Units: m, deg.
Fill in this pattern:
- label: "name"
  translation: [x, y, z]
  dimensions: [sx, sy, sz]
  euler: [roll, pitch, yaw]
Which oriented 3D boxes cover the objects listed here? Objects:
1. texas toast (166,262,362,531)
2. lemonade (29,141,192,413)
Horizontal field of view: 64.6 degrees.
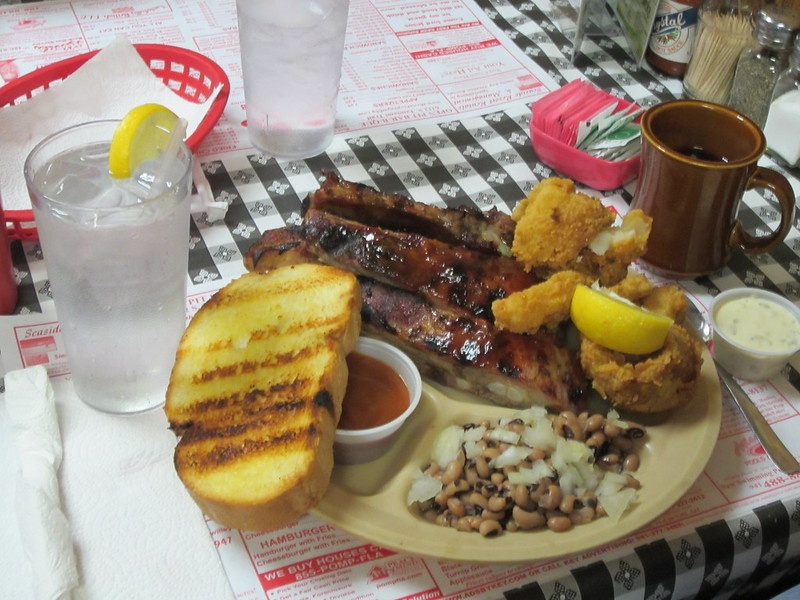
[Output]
- label: "texas toast"
  translation: [-0.340, 0.196, 1.553]
  dimensions: [0.517, 0.541, 0.473]
  euler: [16, 39, 24]
- label: "lemonade"
  translation: [-0.705, -0.006, 1.665]
  dimensions: [0.347, 0.669, 0.327]
  euler: [-24, 45, -34]
